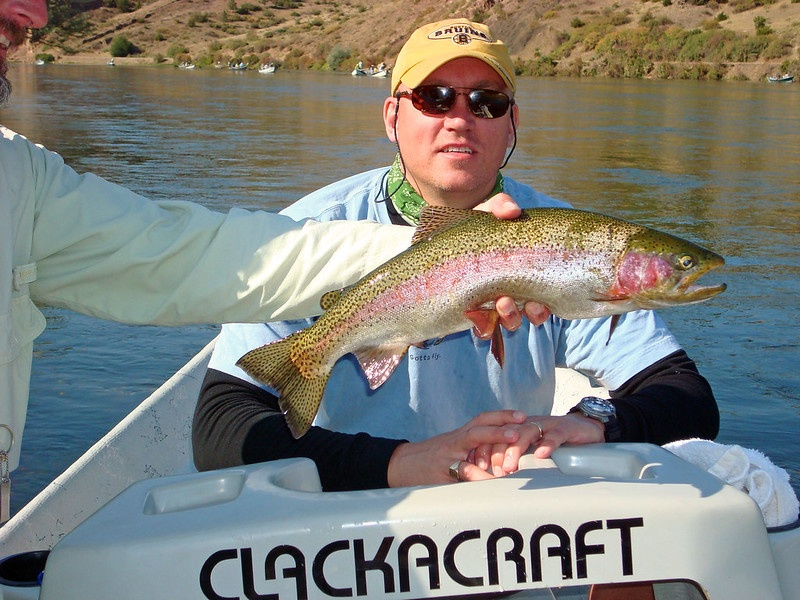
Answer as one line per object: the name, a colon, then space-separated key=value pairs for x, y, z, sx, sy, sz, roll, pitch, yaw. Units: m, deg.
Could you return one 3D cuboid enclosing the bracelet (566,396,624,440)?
bracelet: x=0.847 y=0.468 z=4.977 sx=0.253 sy=0.197 sz=0.152 roll=11 pitch=32 yaw=23
